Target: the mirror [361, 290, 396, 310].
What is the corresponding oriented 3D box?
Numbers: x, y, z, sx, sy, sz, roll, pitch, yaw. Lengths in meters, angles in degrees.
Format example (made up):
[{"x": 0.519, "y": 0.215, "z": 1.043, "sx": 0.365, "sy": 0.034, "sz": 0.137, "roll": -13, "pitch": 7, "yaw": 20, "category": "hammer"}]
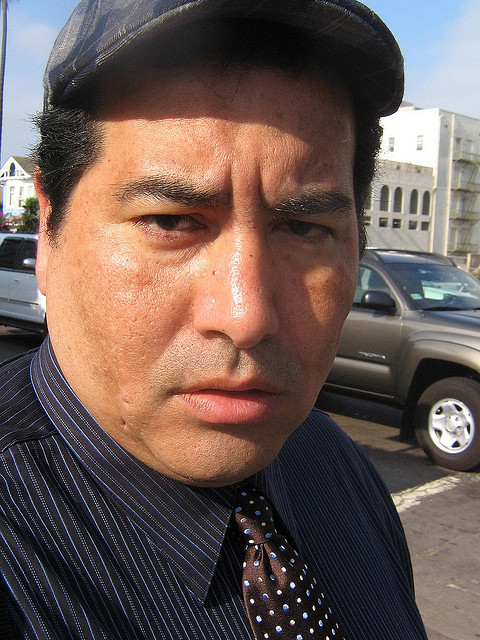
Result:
[{"x": 1.528, "y": -0.251, "z": 6.497, "sx": 0.268, "sy": 0.119, "sz": 0.253, "roll": 0, "pitch": 11, "yaw": -30, "category": "mirror"}]
